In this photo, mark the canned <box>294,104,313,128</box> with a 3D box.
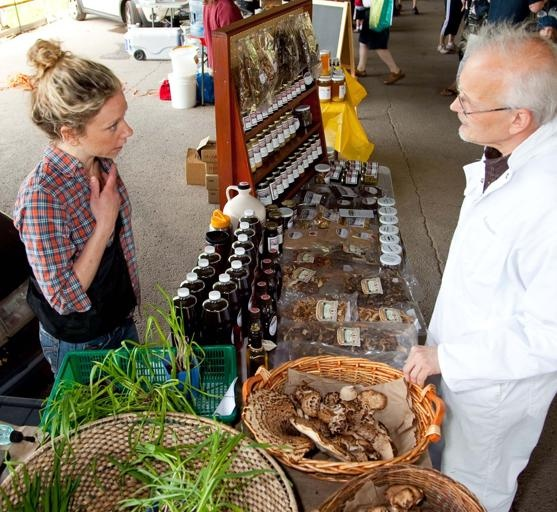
[{"bbox_3d":[0.200,-1.088,3.359,0.179,0.165,0.167,-7,41,3],"label":"canned"}]

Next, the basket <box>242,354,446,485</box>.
[{"bbox_3d":[0.225,0.465,1.369,0.630,0.186,0.621,-6,5,42],"label":"basket"}]

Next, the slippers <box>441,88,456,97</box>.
[{"bbox_3d":[2.873,-2.740,7.248,0.300,0.058,0.109,14,53,39],"label":"slippers"}]

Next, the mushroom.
[{"bbox_3d":[0.177,0.552,1.364,0.432,0.141,0.396,8,16,10],"label":"mushroom"}]

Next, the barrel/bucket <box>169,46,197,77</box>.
[{"bbox_3d":[-1.456,-2.934,6.571,0.482,0.328,0.453,0,42,0],"label":"barrel/bucket"}]
